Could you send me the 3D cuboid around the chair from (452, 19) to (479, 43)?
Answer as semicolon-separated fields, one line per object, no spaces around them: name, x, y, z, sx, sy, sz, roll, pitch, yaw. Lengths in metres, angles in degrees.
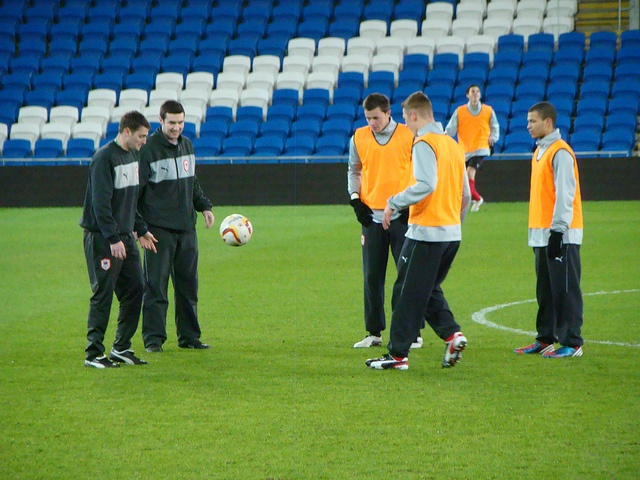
chair;3.710;-5.282;26.950;0.628;0.696;0.586;0;4;10

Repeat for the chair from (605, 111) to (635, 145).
chair;6.739;-2.542;24.065;0.626;0.831;0.733;0;-34;12

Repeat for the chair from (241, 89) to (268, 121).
chair;-1.574;-3.283;25.778;0.651;0.873;0.722;0;-2;9

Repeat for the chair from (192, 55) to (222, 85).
chair;-2.889;-4.334;26.763;0.650;0.619;0.644;1;8;-17

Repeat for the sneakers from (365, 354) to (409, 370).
sneakers;0.875;1.608;13.956;0.534;0.228;0.199;4;-7;1

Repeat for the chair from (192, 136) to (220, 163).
chair;-2.659;-1.951;23.794;0.732;0.836;0.757;2;6;1

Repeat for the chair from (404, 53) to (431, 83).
chair;2.297;-4.161;25.770;0.621;0.831;0.754;2;8;13

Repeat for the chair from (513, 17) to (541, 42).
chair;5.168;-5.288;26.708;0.586;0.786;0.681;0;9;13

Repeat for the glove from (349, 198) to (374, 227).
glove;0.569;-0.384;14.493;0.131;0.380;0.285;-31;10;45

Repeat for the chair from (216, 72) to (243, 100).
chair;-2.221;-3.797;26.000;0.556;0.512;0.576;2;10;5

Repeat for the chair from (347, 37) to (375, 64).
chair;0.996;-4.776;26.665;0.540;0.670;0.591;4;17;5

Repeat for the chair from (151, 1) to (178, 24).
chair;-4.189;-6.036;28.386;0.585;0.578;0.567;-1;-16;6

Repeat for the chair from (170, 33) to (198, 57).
chair;-3.508;-5.002;27.381;0.599;0.599;0.583;2;0;9

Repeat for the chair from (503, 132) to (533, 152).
chair;4.409;-2.177;23.539;0.453;0.634;0.560;1;5;13

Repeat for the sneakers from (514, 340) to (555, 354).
sneakers;2.898;1.439;14.324;0.524;0.210;0.190;2;-4;0

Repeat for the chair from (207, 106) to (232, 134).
chair;-2.383;-2.856;24.926;0.420;0.561;0.494;1;21;-14

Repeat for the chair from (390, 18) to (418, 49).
chair;2.134;-5.255;27.079;0.599;0.774;0.676;0;-5;9

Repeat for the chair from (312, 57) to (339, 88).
chair;0.178;-4.221;26.354;0.627;0.836;0.686;2;15;5

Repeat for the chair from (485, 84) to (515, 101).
chair;4.198;-3.439;24.807;0.419;0.570;0.511;2;5;14

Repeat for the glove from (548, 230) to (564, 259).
glove;3.103;0.047;13.954;0.211;0.348;0.131;7;-6;-14

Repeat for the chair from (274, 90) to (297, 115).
chair;-0.829;-3.320;25.336;0.473;0.651;0.613;3;15;4

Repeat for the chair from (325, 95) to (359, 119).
chair;0.534;-3.094;24.982;0.410;0.550;0.530;1;0;17

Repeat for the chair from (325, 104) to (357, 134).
chair;0.441;-2.814;24.658;0.578;0.847;0.761;2;1;16

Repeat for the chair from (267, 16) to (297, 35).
chair;-1.006;-5.594;27.876;0.758;0.590;0.554;0;2;-1

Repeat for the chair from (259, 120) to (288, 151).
chair;-1.030;-2.326;24.380;0.626;0.697;0.800;-3;21;4

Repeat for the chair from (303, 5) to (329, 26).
chair;-0.088;-6.029;28.257;0.713;0.590;0.457;1;3;20

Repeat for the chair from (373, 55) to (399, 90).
chair;1.644;-4.215;26.323;0.624;0.834;0.760;-1;-6;12

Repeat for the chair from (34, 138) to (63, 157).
chair;-6.286;-2.021;24.373;0.479;0.585;0.580;1;-35;-5

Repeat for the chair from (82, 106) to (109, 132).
chair;-5.410;-2.970;25.724;0.556;0.674;0.532;3;-4;4

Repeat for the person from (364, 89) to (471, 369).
person;1.351;-0.121;13.828;1.061;3.610;0.465;0;2;3

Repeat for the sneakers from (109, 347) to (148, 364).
sneakers;-2.563;1.525;14.166;0.533;0.220;0.193;6;1;-5

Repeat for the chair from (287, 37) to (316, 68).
chair;-0.505;-4.838;26.911;0.557;0.755;0.620;1;7;0

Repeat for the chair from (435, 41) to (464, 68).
chair;3.257;-4.637;26.284;0.695;0.930;0.656;3;24;13

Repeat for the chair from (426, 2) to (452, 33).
chair;3.063;-5.801;27.462;0.665;0.827;0.712;3;10;9

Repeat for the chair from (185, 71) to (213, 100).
chair;-2.991;-3.858;26.361;0.659;0.773;0.586;2;-3;0

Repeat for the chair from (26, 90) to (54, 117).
chair;-7.006;-3.413;26.313;0.509;0.649;0.560;3;18;-7

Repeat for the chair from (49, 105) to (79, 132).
chair;-6.217;-3.016;25.590;0.475;0.661;0.553;1;5;-7

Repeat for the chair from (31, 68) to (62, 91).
chair;-6.975;-4.034;26.963;0.731;0.489;0.528;-1;3;-18

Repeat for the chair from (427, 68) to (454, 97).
chair;2.794;-3.764;25.379;0.620;0.829;0.721;0;-4;20

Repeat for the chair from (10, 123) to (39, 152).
chair;-6.974;-2.458;25.079;0.674;0.813;0.613;2;-1;-26

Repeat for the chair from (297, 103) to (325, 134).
chair;-0.223;-2.854;24.837;0.644;0.717;0.662;3;11;8

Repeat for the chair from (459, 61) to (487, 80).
chair;3.700;-4.078;25.507;0.685;0.528;0.558;0;2;8
